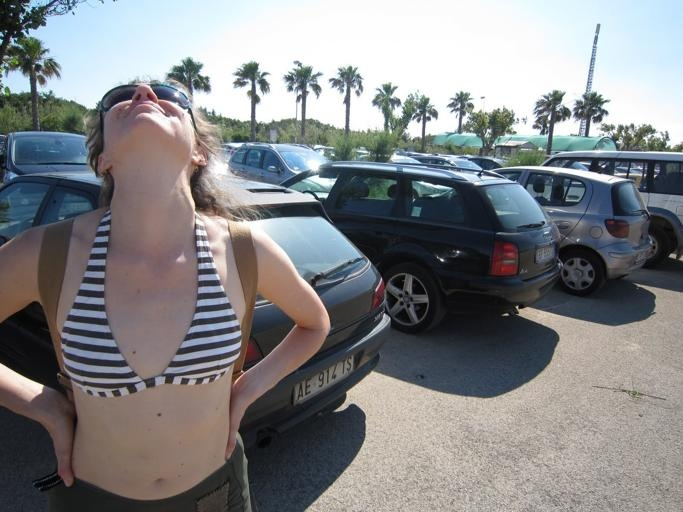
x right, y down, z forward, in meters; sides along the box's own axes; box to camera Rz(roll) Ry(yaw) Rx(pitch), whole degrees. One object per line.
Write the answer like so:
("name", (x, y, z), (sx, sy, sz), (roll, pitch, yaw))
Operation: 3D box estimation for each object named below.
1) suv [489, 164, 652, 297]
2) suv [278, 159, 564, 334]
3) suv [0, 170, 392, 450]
("suv", (3.360, -0.535, 7.463), (2.647, 1.343, 1.599), (10, 18, 37))
("suv", (0.742, -0.295, 5.654), (3.267, 1.265, 1.547), (12, 16, 34))
("suv", (-1.248, 0.198, 3.357), (2.805, 1.234, 1.686), (18, 16, 24))
